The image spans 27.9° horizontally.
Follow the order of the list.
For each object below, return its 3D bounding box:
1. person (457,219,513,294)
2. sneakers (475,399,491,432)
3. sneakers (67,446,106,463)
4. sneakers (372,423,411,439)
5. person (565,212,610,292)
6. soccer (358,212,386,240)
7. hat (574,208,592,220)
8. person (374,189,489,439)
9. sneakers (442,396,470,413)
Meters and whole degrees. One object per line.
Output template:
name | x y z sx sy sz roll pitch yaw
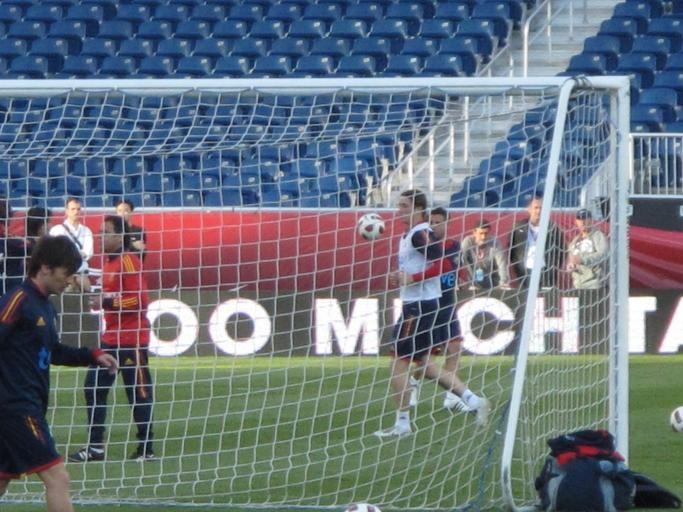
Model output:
person | 1.574 0.056 15.351 0.570 0.306 0.898 1 -35 6
sneakers | 1.297 1.474 12.869 0.185 0.281 0.114 3 10 -35
sneakers | -2.319 1.818 12.666 0.370 0.149 0.130 2 -8 0
sneakers | 0.458 1.666 13.151 0.409 0.166 0.137 -1 5 26
person | 2.181 -0.057 12.543 0.309 0.730 0.557 -1 -4 -17
soccer | 0.296 -0.297 13.756 0.268 0.251 0.261 -1 1 4
hat | 2.194 -0.388 12.539 0.092 0.038 0.117 19 -20 -39
person | 0.744 0.526 13.003 1.014 2.351 0.722 -3 -3 12
sneakers | 1.118 1.492 13.606 0.292 0.199 0.093 5 41 3
